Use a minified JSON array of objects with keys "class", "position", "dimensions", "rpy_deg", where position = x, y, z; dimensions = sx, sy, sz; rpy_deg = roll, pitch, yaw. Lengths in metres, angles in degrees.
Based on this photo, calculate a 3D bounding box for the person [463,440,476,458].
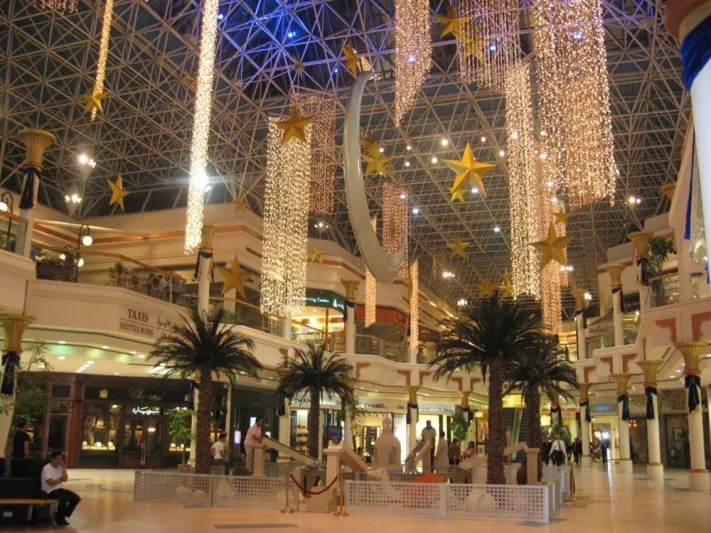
[{"class":"person","position":[4.438,7.032,25.210],"dimensions":[0.394,0.583,1.513],"rpy_deg":[-3,-17,8]}]

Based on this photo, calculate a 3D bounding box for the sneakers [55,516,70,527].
[{"class":"sneakers","position":[-6.101,5.197,13.305],"dimensions":[0.335,0.256,0.137],"rpy_deg":[3,-8,-11]}]
